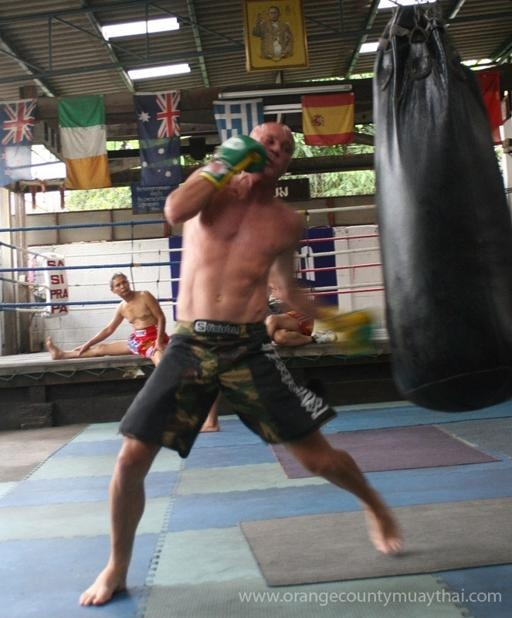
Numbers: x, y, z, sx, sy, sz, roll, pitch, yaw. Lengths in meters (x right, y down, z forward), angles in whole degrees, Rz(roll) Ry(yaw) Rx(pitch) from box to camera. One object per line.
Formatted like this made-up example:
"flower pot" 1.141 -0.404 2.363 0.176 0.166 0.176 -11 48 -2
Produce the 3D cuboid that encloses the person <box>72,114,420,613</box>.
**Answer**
"person" -0.097 0.140 1.902 1.019 1.428 0.426 -6 0 -15

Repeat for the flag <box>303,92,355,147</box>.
"flag" 0.764 -2.057 6.682 0.865 0.576 0.076 -2 2 -4

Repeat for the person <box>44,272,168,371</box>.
"person" -0.944 0.142 5.159 1.148 0.671 1.060 0 -5 -37

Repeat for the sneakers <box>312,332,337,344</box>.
"sneakers" 0.538 0.227 5.008 0.166 0.037 0.103 -1 4 -15

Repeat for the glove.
"glove" -0.066 -0.417 1.798 0.197 0.133 0.072 -39 0 -9
